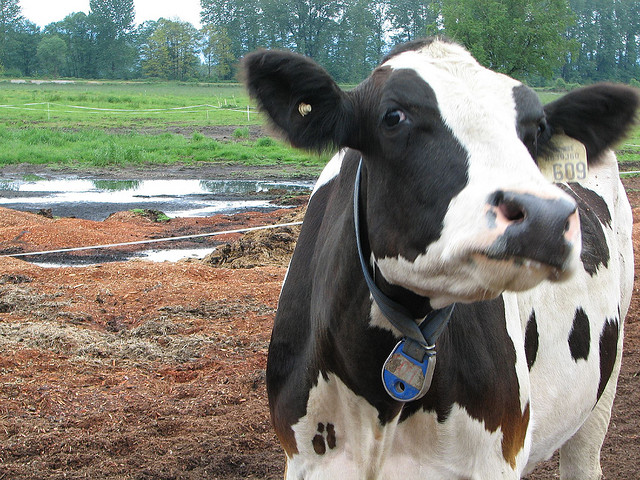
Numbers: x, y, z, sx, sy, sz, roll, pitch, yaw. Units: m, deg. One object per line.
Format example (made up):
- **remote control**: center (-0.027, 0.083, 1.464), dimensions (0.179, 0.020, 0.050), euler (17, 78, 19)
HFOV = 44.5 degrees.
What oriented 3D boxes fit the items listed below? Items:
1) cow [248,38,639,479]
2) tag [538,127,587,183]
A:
- **cow**: center (1.851, 0.171, 7.338), dimensions (2.197, 3.402, 7.452), euler (6, 10, 22)
- **tag**: center (1.418, -0.509, 4.545), dimensions (0.046, 0.412, 0.359), euler (-12, 12, -43)
